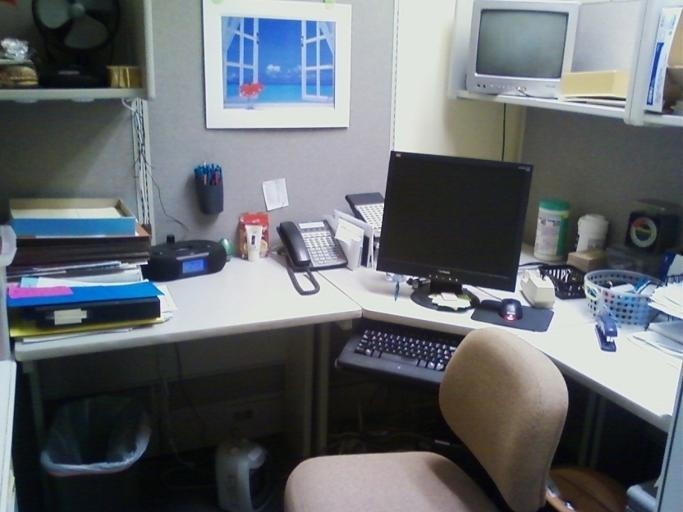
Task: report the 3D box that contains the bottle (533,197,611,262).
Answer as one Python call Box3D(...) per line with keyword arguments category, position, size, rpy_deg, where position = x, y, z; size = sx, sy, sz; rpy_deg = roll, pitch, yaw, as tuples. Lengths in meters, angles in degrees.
Box3D(category="bottle", position=(0.969, -0.104, 2.367), size=(0.289, 0.278, 0.156), rpy_deg=(13, 23, 26))

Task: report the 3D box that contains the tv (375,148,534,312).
Box3D(category="tv", position=(0.395, -0.068, 1.978), size=(0.522, 0.497, 0.064), rpy_deg=(11, 6, 12))

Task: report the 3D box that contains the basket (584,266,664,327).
Box3D(category="basket", position=(0.969, 0.143, 1.900), size=(0.198, 0.111, 0.196), rpy_deg=(3, 12, -2))

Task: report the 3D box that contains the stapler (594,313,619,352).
Box3D(category="stapler", position=(0.840, 0.248, 1.750), size=(0.047, 0.077, 0.189), rpy_deg=(-1, 11, 12))

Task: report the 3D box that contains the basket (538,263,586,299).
Box3D(category="basket", position=(0.850, 0.095, 2.174), size=(0.124, 0.066, 0.191), rpy_deg=(25, 2, -12))

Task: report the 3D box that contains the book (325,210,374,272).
Box3D(category="book", position=(0.038, -0.049, 2.245), size=(0.098, 0.138, 0.186), rpy_deg=(-12, 36, -25))
